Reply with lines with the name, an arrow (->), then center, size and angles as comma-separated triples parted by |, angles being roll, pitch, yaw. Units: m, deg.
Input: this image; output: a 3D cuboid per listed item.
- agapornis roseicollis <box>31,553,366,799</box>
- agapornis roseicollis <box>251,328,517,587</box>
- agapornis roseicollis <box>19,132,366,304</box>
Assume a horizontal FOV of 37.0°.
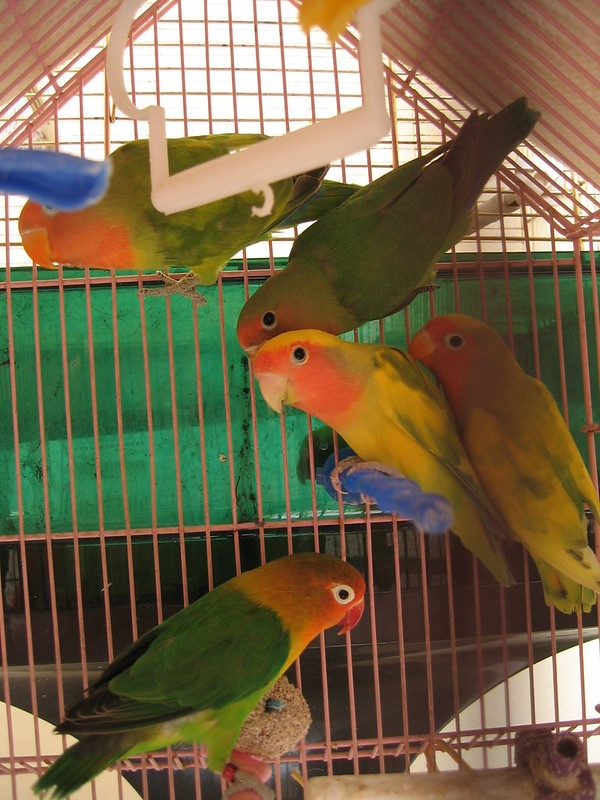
agapornis roseicollis -> -0.149, 0.439, 1.425 | 0.538, 0.368, 0.169 | -2, 0, -15
agapornis roseicollis -> 0.151, 0.101, 1.397 | 0.410, 0.378, 0.103 | -2, 0, -27
agapornis roseicollis -> -0.159, -0.261, 1.329 | 0.488, 0.140, 0.207 | -29, -29, 3
